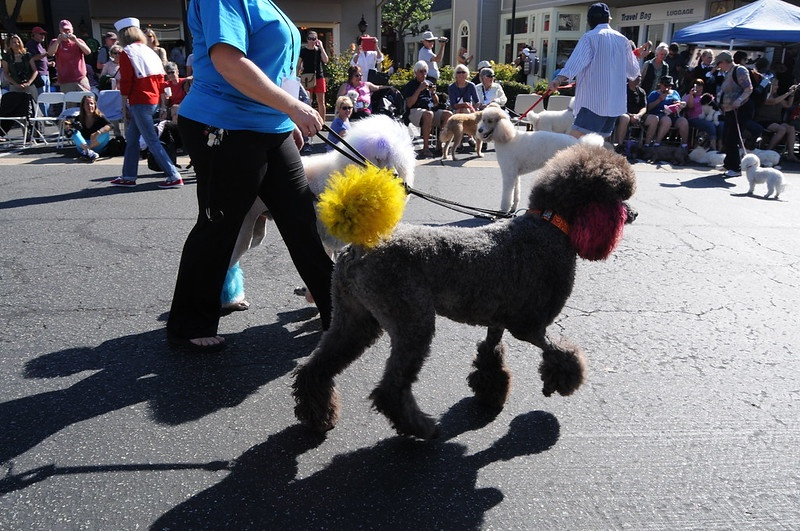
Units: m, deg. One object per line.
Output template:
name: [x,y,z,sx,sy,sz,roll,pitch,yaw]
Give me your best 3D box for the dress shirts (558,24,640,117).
dress shirts: [2.709,-2.665,8.296,1.419,1.172,0.588,-8,17,-21]
